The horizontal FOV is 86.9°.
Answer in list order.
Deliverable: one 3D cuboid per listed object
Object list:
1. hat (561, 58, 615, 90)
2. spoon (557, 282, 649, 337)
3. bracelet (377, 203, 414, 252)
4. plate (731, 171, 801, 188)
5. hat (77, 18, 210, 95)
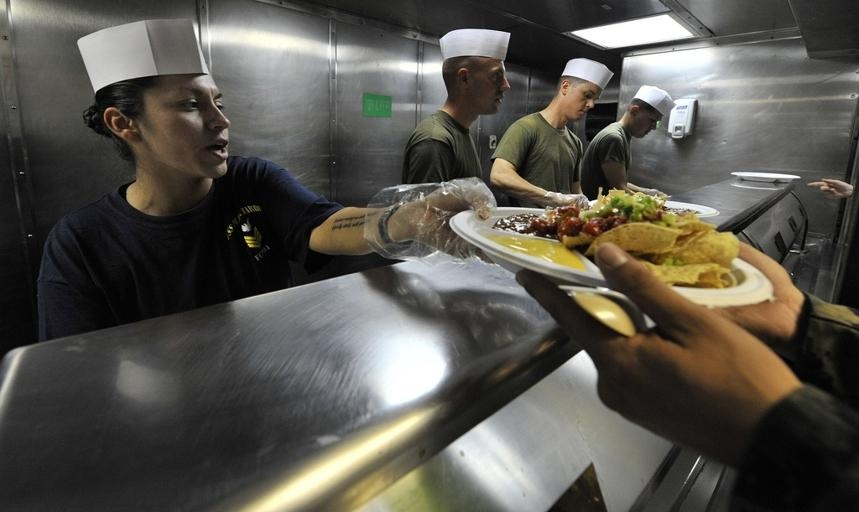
[{"bbox_3d":[1.092,-1.277,3.141,0.322,0.124,0.259,21,18,7],"label":"hat"},{"bbox_3d":[0.397,0.116,1.088,0.092,0.038,0.276,-2,27,-18],"label":"spoon"},{"bbox_3d":[-0.105,-0.095,1.550,0.088,0.165,0.123,-12,70,-24],"label":"bracelet"},{"bbox_3d":[2.453,-0.574,3.351,0.346,0.079,0.472,20,28,39],"label":"plate"},{"bbox_3d":[-1.026,-0.770,1.703,0.343,0.144,0.340,-13,7,17],"label":"hat"}]
